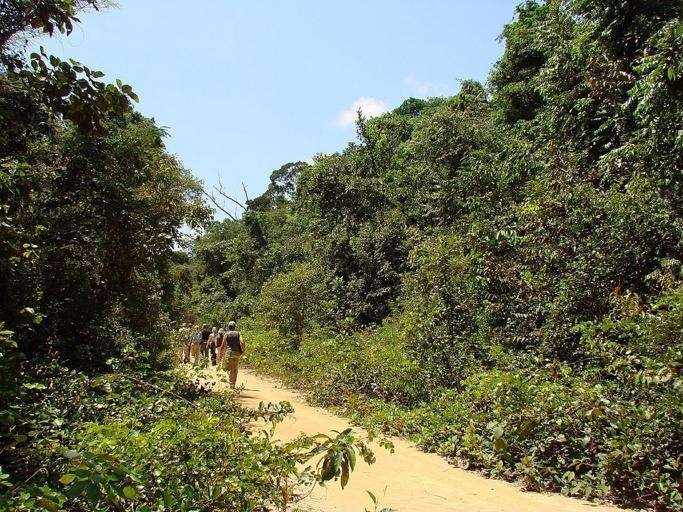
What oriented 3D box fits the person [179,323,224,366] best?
[{"bbox_3d":[-4.224,2.706,16.123,1.324,1.854,0.720,1,6,3],"label":"person"}]
